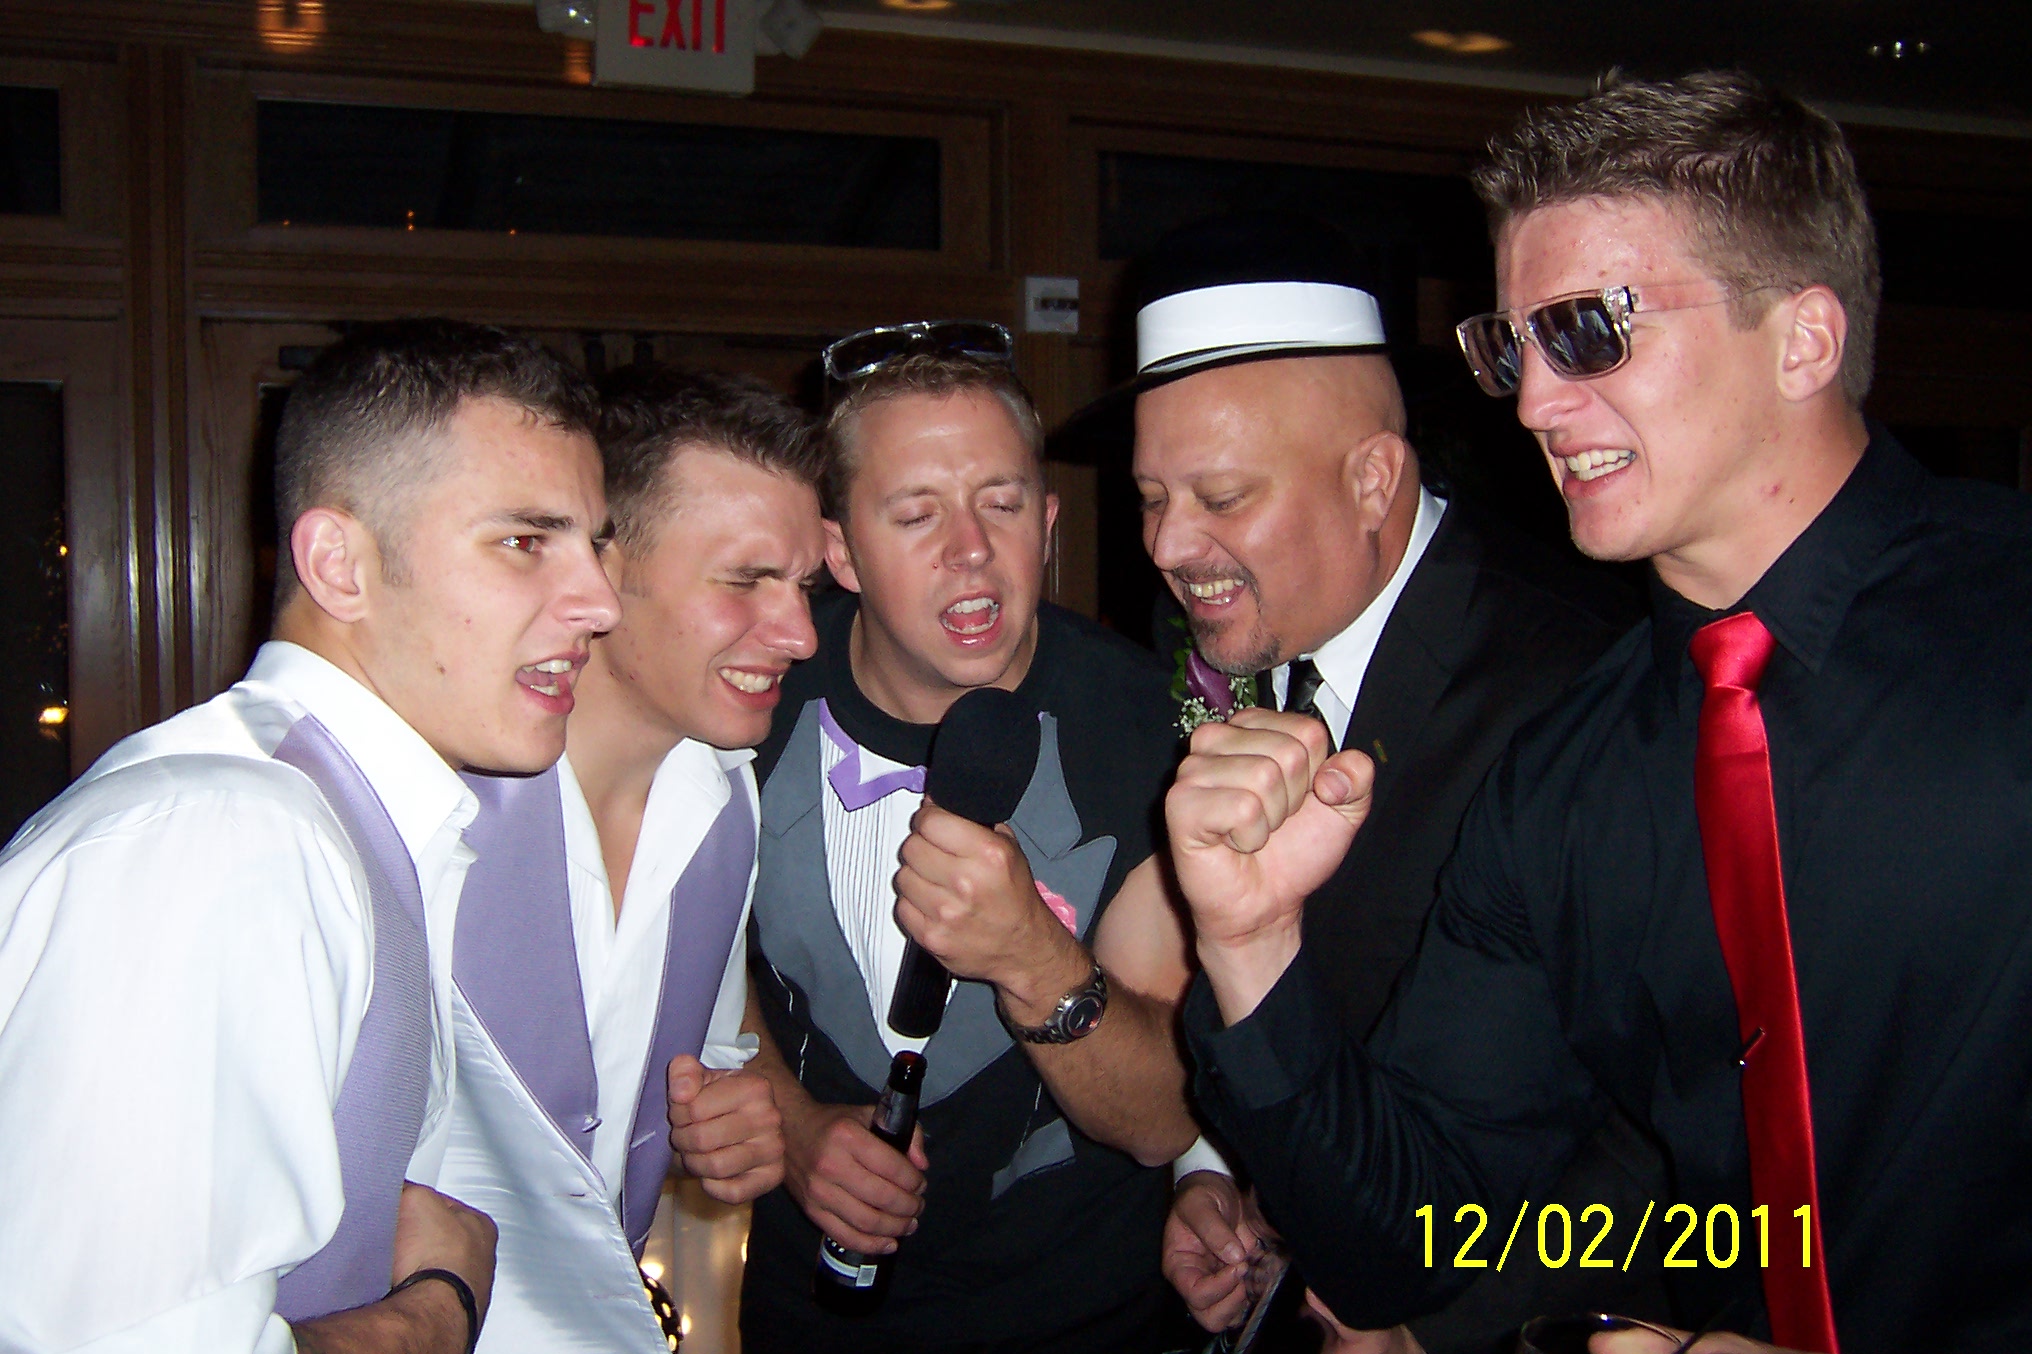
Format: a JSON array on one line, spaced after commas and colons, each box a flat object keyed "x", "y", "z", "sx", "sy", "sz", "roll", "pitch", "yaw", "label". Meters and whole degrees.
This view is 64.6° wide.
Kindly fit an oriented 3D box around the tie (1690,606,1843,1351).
[{"x": 1.244, "y": 0.472, "z": 2.801, "sx": 0.186, "sy": 1.281, "sz": 0.147, "roll": 5, "pitch": -14, "yaw": -40, "label": "tie"}]

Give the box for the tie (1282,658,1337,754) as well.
[{"x": 0.697, "y": 0.070, "z": 3.929, "sx": 0.072, "sy": 0.224, "sz": 0.169, "roll": -3, "pitch": 1, "yaw": 4, "label": "tie"}]
